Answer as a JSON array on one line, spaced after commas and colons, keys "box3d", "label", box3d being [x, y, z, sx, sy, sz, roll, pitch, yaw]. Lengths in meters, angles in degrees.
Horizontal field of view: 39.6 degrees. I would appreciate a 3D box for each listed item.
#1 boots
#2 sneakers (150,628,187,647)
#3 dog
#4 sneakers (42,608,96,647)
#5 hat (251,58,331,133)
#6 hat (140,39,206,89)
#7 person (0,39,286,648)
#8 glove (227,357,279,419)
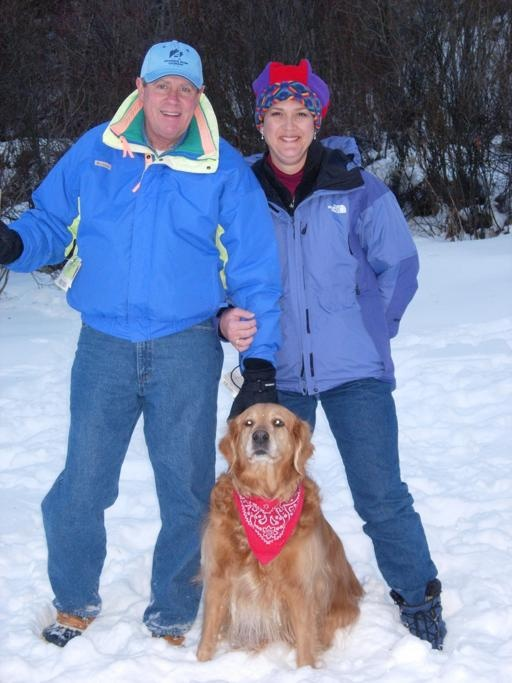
[{"box3d": [0.653, 1.087, 2.851, 0.223, 0.202, 0.309, 1, 9, 10], "label": "boots"}, {"box3d": [-0.344, 1.192, 2.847, 0.159, 0.084, 0.048, 8, 6, -12], "label": "sneakers"}, {"box3d": [0.127, 0.797, 2.987, 0.676, 0.932, 0.784, -2, -6, 43], "label": "dog"}, {"box3d": [-0.763, 1.119, 2.847, 0.124, 0.052, 0.162, 14, 23, 13], "label": "sneakers"}, {"box3d": [0.156, -1.063, 3.109, 0.307, 0.265, 0.336, 1, -1, 12], "label": "hat"}, {"box3d": [-0.292, -1.016, 2.541, 0.213, 0.147, 0.287, 6, 0, -15], "label": "hat"}, {"box3d": [-0.429, 0.055, 2.759, 1.029, 2.322, 0.358, -3, 9, -10], "label": "person"}, {"box3d": [0.006, 0.207, 2.762, 0.161, 0.226, 0.178, -2, 0, 35], "label": "glove"}]
